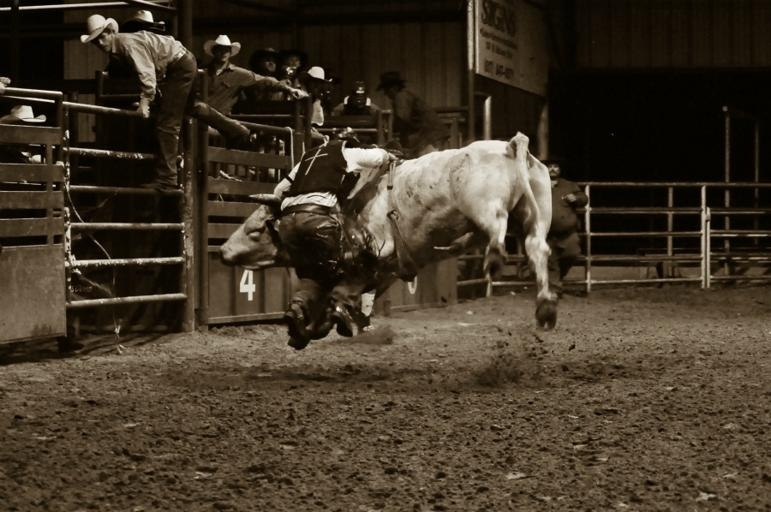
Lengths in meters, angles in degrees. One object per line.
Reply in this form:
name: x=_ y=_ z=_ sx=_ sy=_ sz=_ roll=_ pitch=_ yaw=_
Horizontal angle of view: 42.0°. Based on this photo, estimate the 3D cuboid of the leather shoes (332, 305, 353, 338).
leather shoes: x=-0.450 y=0.672 z=10.385 sx=0.186 sy=0.357 sz=0.255 roll=2 pitch=11 yaw=7

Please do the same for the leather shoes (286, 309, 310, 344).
leather shoes: x=-0.959 y=0.751 z=10.373 sx=0.214 sy=0.372 sz=0.199 roll=-2 pitch=11 yaw=32

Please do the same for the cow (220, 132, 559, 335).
cow: x=0.034 y=-0.146 z=11.203 sx=3.609 sy=1.854 sz=1.070 roll=-10 pitch=-11 yaw=29

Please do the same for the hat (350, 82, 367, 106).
hat: x=-0.456 y=-2.641 z=16.453 sx=0.406 sy=0.428 sz=0.445 roll=1 pitch=-3 yaw=-4
